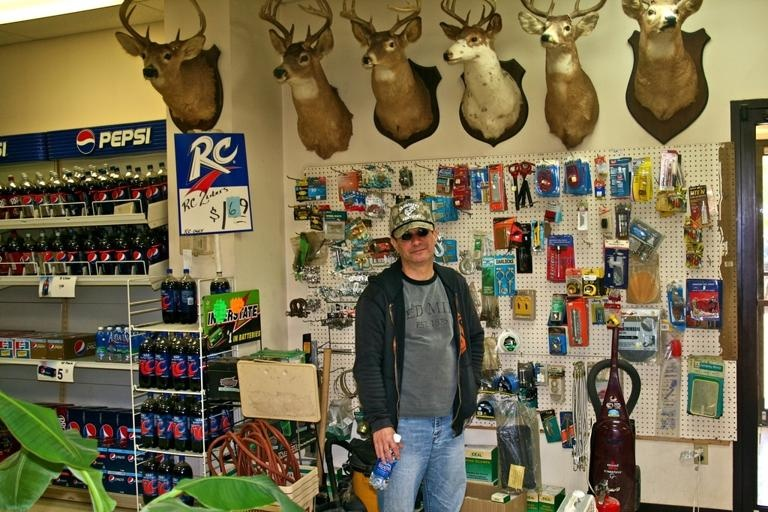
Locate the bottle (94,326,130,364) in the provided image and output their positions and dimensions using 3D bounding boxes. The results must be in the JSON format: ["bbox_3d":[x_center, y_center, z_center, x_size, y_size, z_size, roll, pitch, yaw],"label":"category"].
[{"bbox_3d":[-2.467,0.816,6.511,0.272,0.314,0.164,4,7,16],"label":"bottle"}]
